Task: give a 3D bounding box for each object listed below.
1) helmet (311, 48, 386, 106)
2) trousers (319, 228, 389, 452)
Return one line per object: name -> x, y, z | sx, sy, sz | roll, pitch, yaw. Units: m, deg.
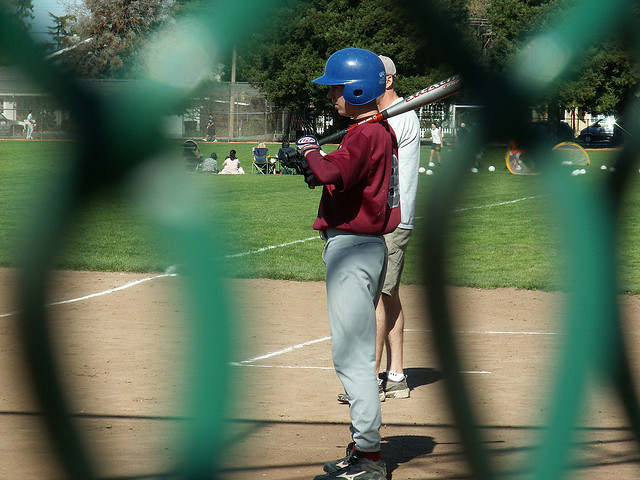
helmet -> 0.108, -0.618, 3.460 | 0.273, 0.184, 0.264 | 18, 27, 31
trousers -> 0.127, 0.389, 3.638 | 0.229, 0.851, 0.288 | 1, 7, 0
